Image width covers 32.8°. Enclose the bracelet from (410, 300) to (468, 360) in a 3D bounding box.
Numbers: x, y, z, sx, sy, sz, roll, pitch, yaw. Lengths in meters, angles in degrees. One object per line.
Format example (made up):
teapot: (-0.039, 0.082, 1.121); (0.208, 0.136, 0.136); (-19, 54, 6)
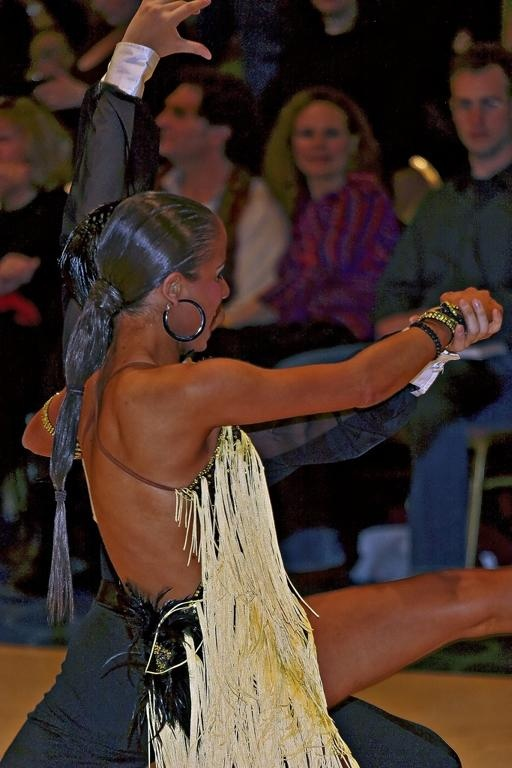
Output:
bracelet: (0.276, -0.073, 1.315); (0.050, 0.089, 0.073); (-35, -1, 24)
